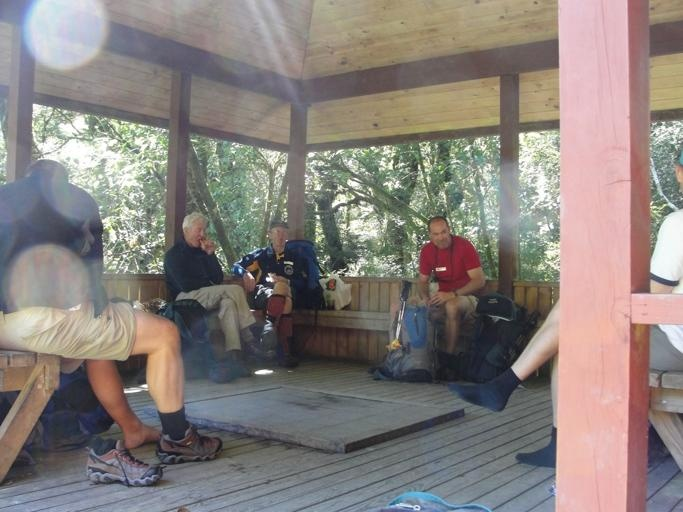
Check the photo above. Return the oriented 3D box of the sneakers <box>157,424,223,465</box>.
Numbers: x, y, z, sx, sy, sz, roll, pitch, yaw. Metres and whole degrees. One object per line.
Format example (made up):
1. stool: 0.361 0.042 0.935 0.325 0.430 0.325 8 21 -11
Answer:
1. sneakers: -0.823 0.986 2.954 0.344 0.190 0.156 0 1 -25

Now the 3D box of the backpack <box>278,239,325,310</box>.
1. backpack: -0.459 0.205 6.474 0.593 0.725 0.254 2 -3 -22

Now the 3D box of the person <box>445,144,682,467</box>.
1. person: 1.206 0.333 2.723 1.057 1.618 0.623 -1 4 -15

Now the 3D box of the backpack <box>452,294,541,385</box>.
1. backpack: 1.417 0.610 5.168 0.603 0.347 0.816 5 21 9

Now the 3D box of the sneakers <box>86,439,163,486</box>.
1. sneakers: -1.056 1.009 2.707 0.418 0.215 0.170 5 4 9

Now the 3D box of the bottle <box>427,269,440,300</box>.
1. bottle: 1.014 0.313 6.014 0.128 0.521 0.405 0 -3 10

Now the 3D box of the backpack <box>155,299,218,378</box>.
1. backpack: -1.392 0.776 5.368 0.775 0.846 0.323 5 15 29
